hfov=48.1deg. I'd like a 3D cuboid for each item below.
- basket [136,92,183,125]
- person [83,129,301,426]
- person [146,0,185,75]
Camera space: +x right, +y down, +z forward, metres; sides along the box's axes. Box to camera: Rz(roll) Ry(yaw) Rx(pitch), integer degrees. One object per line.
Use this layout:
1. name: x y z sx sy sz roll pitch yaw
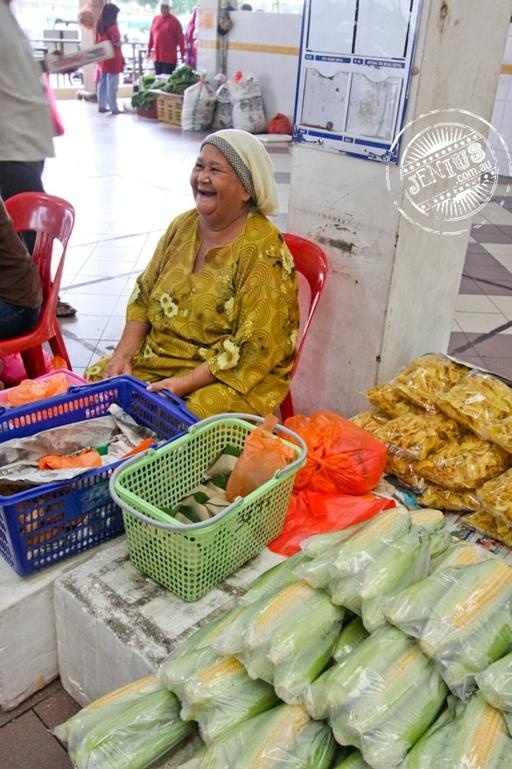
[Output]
1. basket: -1.898 -5.639 11.691 0.668 0.363 1.021 -20 45 -28
2. person: -0.230 -0.369 2.109 0.708 1.042 0.776 -17 30 -35
3. person: -1.844 -7.107 11.910 0.734 1.186 1.385 3 23 -12
